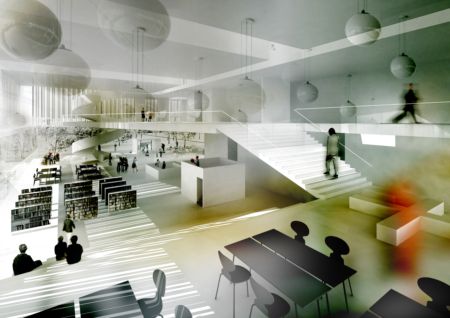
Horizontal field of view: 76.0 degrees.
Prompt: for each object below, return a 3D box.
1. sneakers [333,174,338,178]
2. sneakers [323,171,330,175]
[{"bbox_3d":[3.813,0.589,9.923,0.166,0.120,0.076,-3,12,0],"label":"sneakers"},{"bbox_3d":[3.541,0.472,10.061,0.072,0.145,0.200,1,5,-20],"label":"sneakers"}]
